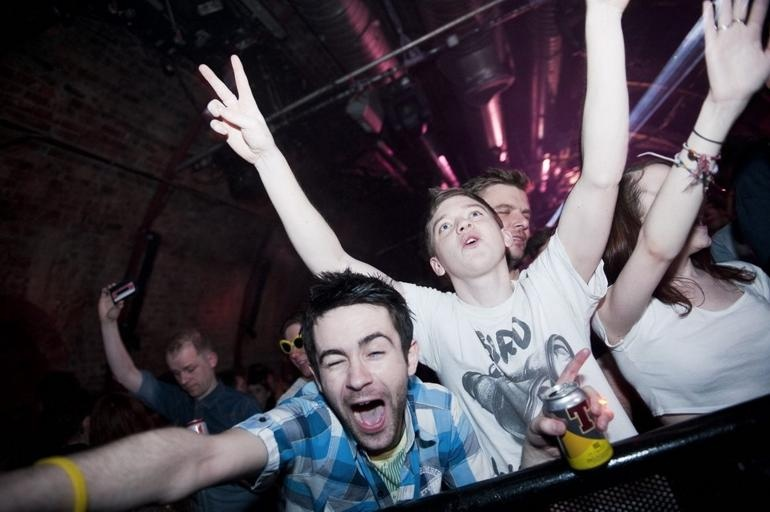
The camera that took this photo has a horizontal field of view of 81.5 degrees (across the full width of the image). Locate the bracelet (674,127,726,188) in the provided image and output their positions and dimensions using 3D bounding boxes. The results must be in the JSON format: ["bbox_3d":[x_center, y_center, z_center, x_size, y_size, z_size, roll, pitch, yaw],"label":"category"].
[{"bbox_3d":[1.832,-0.561,2.681,0.255,0.352,0.264,11,6,43],"label":"bracelet"}]

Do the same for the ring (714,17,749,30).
[{"bbox_3d":[2.034,-1.358,2.634,0.086,0.023,0.090,-1,-6,0],"label":"ring"}]
